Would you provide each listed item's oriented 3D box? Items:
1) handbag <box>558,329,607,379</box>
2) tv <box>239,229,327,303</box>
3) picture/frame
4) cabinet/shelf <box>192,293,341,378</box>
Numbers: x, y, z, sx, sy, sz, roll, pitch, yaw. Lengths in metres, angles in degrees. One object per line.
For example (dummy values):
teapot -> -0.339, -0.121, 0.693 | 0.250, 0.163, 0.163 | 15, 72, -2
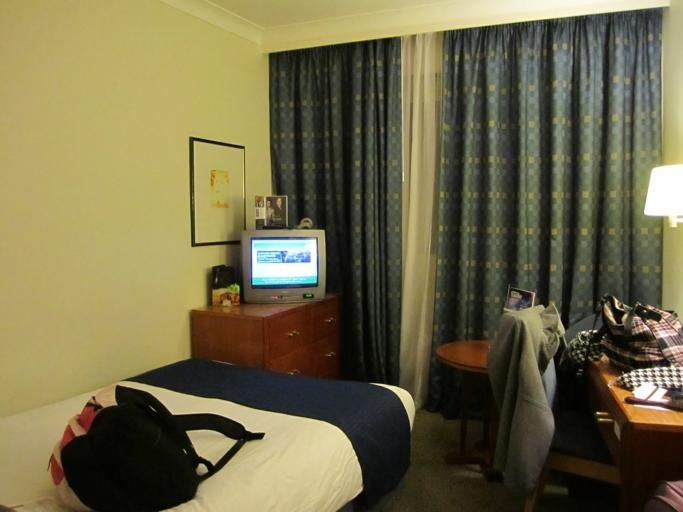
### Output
handbag -> 1.468, 0.585, 3.405 | 0.400, 0.155, 0.262 | -22, 15, -37
tv -> -0.449, 0.061, 4.658 | 0.854, 0.836, 0.496 | -1, -3, -7
picture/frame -> -0.974, -0.507, 4.445 | 0.539, 0.808, 0.027 | 4, 8, 25
cabinet/shelf -> -0.548, 0.825, 4.615 | 0.700, 0.952, 1.290 | 2, 5, 24
